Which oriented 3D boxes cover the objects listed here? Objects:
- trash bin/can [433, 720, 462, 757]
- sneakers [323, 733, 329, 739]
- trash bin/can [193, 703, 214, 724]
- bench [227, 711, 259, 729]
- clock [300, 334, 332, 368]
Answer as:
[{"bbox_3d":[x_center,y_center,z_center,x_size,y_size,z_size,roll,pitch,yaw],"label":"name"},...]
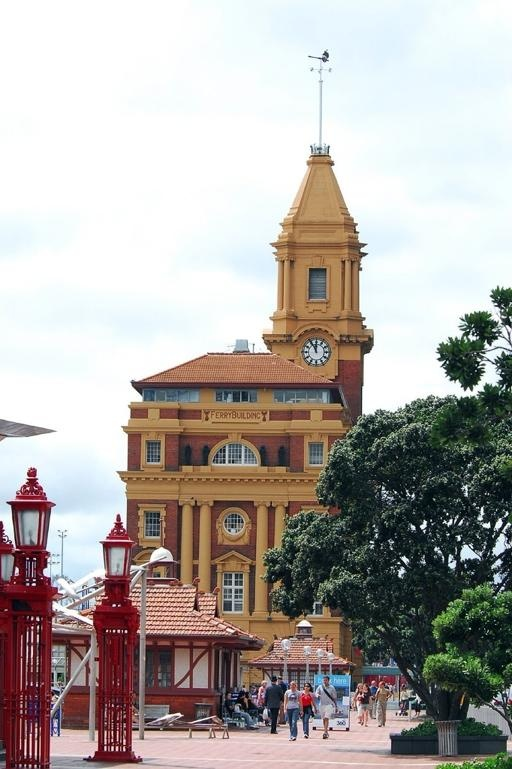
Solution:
[{"bbox_3d":[3.732,6.919,42.066,0.574,0.799,0.593,2,-5,-31],"label":"trash bin/can"},{"bbox_3d":[1.571,7.988,48.842,0.066,0.090,0.225,2,6,6],"label":"sneakers"},{"bbox_3d":[-1.314,7.996,52.333,0.410,0.384,0.543,-2,5,3],"label":"trash bin/can"},{"bbox_3d":[-0.380,8.248,52.673,0.705,0.428,0.855,1,-10,0],"label":"bench"},{"bbox_3d":[2.979,-1.751,106.300,1.327,1.756,0.128,-4,-7,9],"label":"clock"}]
